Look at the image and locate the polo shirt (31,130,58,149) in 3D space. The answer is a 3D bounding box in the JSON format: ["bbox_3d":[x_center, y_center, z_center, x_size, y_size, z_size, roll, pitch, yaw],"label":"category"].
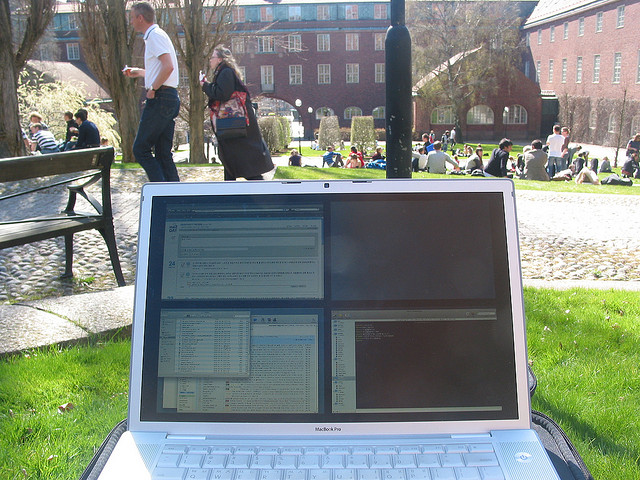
[{"bbox_3d":[-6.904,-2.511,15.040,0.512,0.506,0.597,1,4,12],"label":"polo shirt"}]

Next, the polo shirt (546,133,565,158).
[{"bbox_3d":[8.243,-3.337,21.114,0.471,0.846,0.758,2,4,21],"label":"polo shirt"}]

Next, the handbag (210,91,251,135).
[{"bbox_3d":[-0.992,-1.360,6.449,0.443,0.490,0.352,-10,23,-37],"label":"handbag"}]

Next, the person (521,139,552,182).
[{"bbox_3d":[6.681,-2.447,18.696,0.753,1.294,1.146,2,4,19],"label":"person"}]

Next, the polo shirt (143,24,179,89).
[{"bbox_3d":[-1.574,-1.926,6.056,0.375,0.420,0.211,11,17,34],"label":"polo shirt"}]
